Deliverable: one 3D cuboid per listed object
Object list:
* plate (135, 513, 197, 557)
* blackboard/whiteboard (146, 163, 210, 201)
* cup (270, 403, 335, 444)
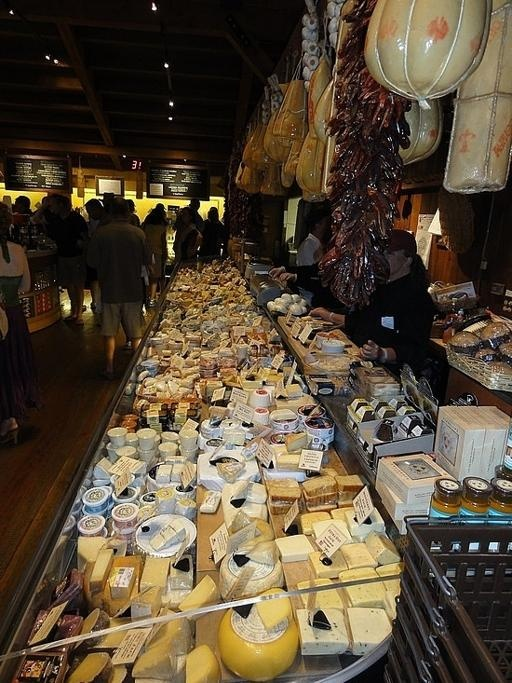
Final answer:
[{"bbox_3d":[-0.239,0.515,1.166,0.096,0.033,0.095,-4,17,-14],"label":"plate"},{"bbox_3d":[-1.801,-3.703,10.246,1.774,1.007,0.120,-1,7,-4],"label":"blackboard/whiteboard"},{"bbox_3d":[0.171,0.304,1.605,0.166,0.070,0.122,-3,18,-8],"label":"cup"}]
